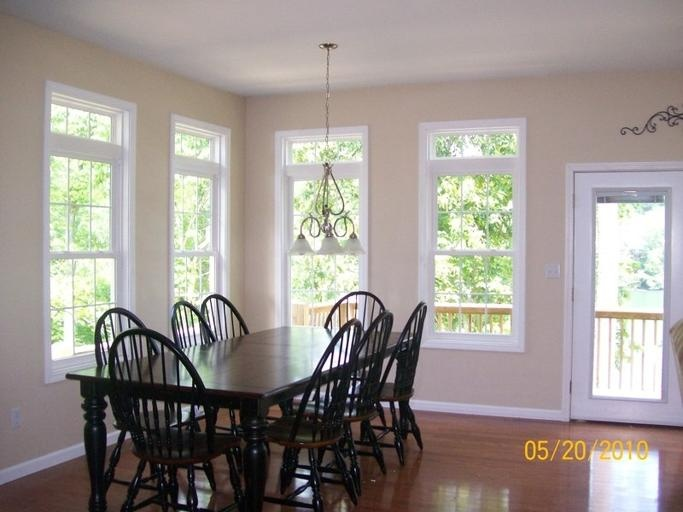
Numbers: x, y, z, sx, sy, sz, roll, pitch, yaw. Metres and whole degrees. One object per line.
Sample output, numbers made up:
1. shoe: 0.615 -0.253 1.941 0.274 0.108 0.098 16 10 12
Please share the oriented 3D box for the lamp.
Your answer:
1. lamp: -0.126 -1.025 5.197 0.764 1.944 0.737 -5 8 -43
